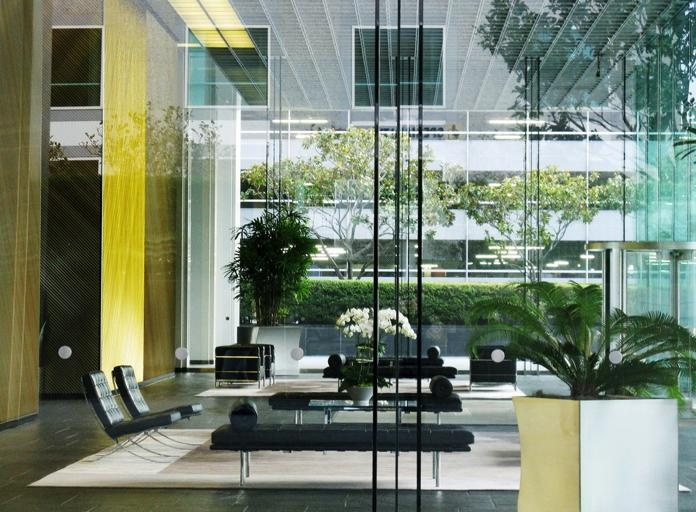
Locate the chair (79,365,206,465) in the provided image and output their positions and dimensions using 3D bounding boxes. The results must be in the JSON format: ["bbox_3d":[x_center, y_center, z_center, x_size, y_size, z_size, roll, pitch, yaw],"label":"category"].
[{"bbox_3d":[-2.084,1.595,8.020,1.086,0.922,0.862,4,-3,8],"label":"chair"}]

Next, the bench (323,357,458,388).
[{"bbox_3d":[0.393,1.097,7.274,1.296,0.290,0.096,-1,0,12],"label":"bench"}]

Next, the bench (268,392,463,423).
[{"bbox_3d":[0.156,1.459,7.306,1.879,0.284,0.139,-1,0,10],"label":"bench"}]

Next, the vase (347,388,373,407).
[{"bbox_3d":[0.121,1.352,7.326,0.181,0.112,0.180,9,-19,-34],"label":"vase"}]

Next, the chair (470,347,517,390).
[{"bbox_3d":[1.375,1.008,7.236,0.458,0.448,0.301,-3,21,2],"label":"chair"}]

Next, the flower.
[{"bbox_3d":[0.170,0.940,7.435,0.552,0.662,0.453,9,-10,-39],"label":"flower"}]

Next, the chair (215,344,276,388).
[{"bbox_3d":[-1.014,1.080,7.432,0.429,0.414,0.485,-1,-5,-2],"label":"chair"}]
